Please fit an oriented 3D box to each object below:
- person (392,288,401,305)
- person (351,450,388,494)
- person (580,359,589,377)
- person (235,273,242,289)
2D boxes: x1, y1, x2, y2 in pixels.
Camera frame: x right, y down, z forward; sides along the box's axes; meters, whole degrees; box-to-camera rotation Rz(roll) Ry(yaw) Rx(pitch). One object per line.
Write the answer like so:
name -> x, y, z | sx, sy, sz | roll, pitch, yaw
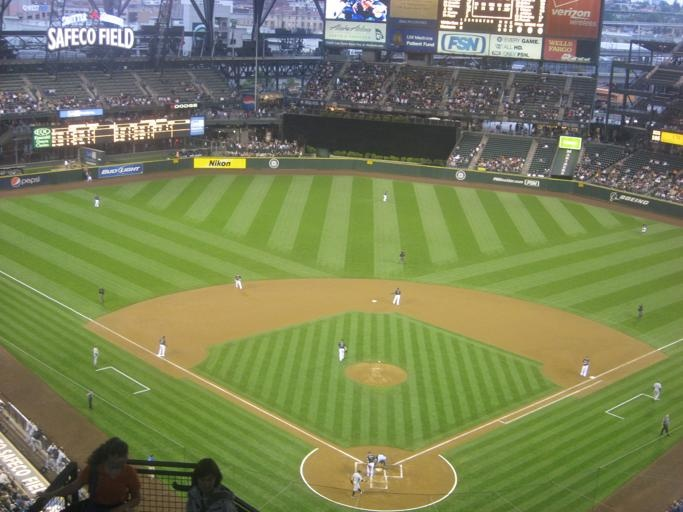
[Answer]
person -> 4.090, 2.888, 49.815 | 0.649, 1.134, 1.552 | 4, 14, 4
person -> 1.448, 9.924, 31.789 | 1.519, 0.897, 1.802 | -1, 19, -2
person -> 14.927, 6.692, 41.478 | 0.547, 0.989, 1.232 | 9, 16, 19
person -> -7.735, 1.803, 51.223 | 0.651, 1.059, 1.726 | 0, 14, -9
